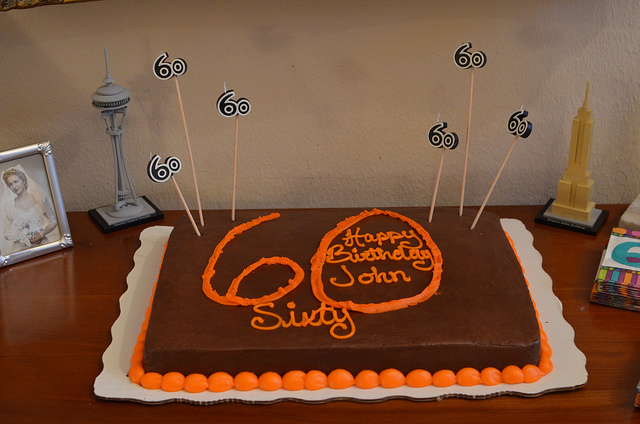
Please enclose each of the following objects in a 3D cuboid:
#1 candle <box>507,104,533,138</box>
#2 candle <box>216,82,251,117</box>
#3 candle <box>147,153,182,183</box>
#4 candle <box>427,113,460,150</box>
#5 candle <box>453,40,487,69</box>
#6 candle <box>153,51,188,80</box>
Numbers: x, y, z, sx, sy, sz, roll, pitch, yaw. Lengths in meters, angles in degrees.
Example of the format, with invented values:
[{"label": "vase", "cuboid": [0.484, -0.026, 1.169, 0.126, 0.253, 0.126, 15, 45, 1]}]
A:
[{"label": "candle", "cuboid": [0.618, -0.281, 2.083, 0.061, 0.087, 0.117, 5, 30, 9]}, {"label": "candle", "cuboid": [-0.265, -0.327, 2.061, 0.071, 0.086, 0.078, 20, 35, 32]}, {"label": "candle", "cuboid": [-0.467, -0.130, 2.023, 0.107, 0.094, 0.015, -17, 9, -38]}, {"label": "candle", "cuboid": [0.406, -0.270, 2.204, 0.121, 0.150, 0.031, 8, 19, 14]}, {"label": "candle", "cuboid": [0.479, -0.505, 2.144, 0.119, 0.104, 0.033, 3, 20, 7]}, {"label": "candle", "cuboid": [-0.460, -0.466, 2.079, 0.087, 0.079, 0.138, -4, 30, -6]}]
